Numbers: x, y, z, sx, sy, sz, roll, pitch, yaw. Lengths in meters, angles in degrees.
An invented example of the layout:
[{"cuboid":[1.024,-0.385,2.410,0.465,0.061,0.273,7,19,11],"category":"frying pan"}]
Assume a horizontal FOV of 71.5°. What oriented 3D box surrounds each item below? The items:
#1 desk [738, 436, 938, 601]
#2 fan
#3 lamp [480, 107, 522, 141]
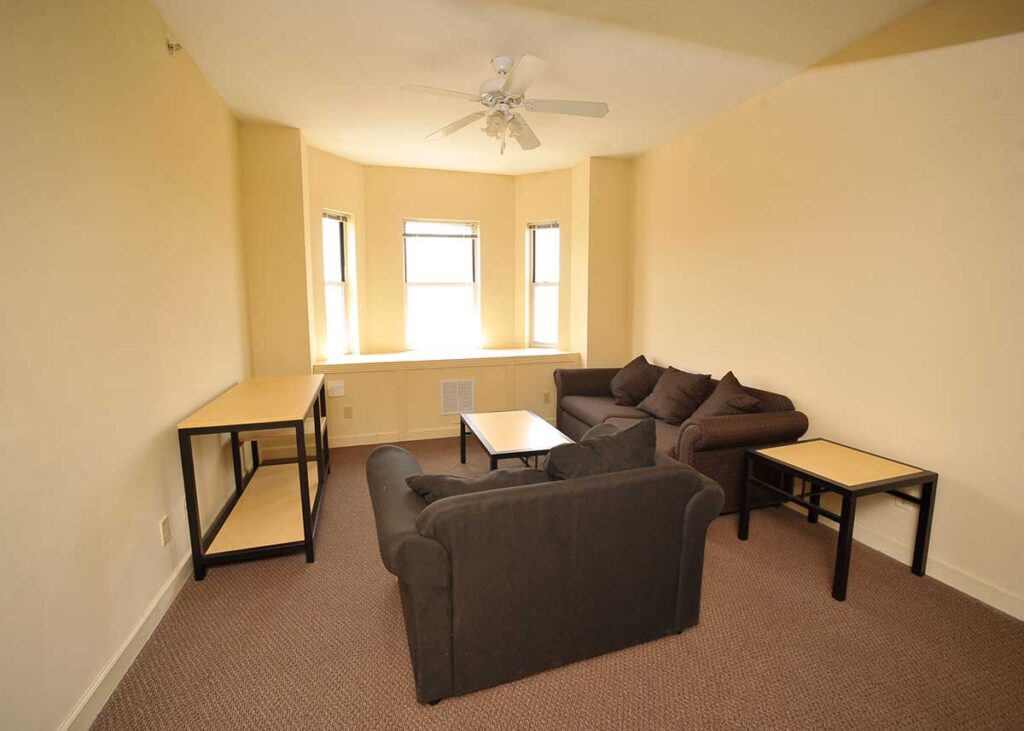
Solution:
[{"cuboid":[2.055,0.842,4.633,0.970,0.770,0.911,-4,12,-25],"category":"desk"},{"cuboid":[-0.078,-1.829,4.979,1.129,0.551,1.364,-3,9,-13],"category":"fan"},{"cuboid":[-0.121,-1.686,4.987,0.294,0.107,0.261,9,-14,-44],"category":"lamp"}]
